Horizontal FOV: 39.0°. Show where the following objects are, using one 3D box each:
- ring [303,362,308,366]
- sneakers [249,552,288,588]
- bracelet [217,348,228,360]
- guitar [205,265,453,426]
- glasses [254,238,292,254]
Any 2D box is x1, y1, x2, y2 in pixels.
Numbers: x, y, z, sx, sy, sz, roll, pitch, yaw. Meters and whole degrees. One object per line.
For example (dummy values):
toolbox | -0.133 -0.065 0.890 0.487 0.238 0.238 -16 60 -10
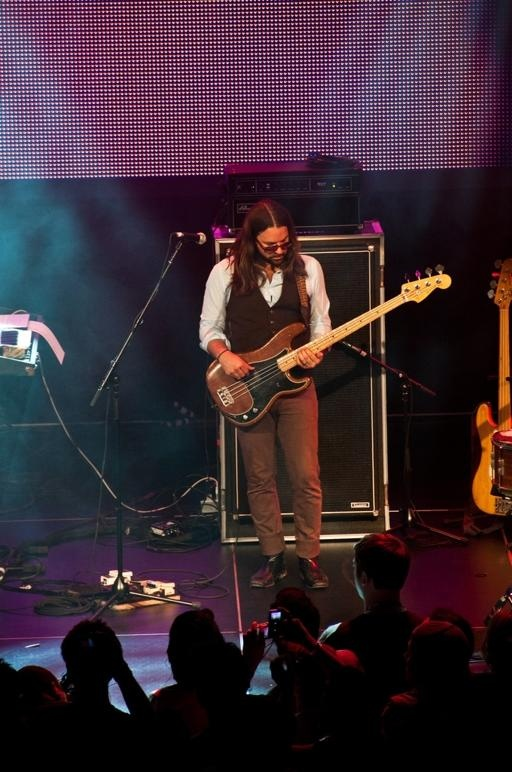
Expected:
ring | 0.191 -0.084 2.783 0.015 0.012 0.004 0 8 4
sneakers | 0.041 0.755 2.951 0.072 0.127 0.207 -3 1 41
bracelet | -0.131 -0.120 2.845 0.043 0.044 0.047 -2 5 -4
guitar | 0.239 -0.118 2.885 0.877 0.584 0.200 -2 6 -4
glasses | 0.056 -0.527 2.765 0.134 0.057 0.083 0 5 14
